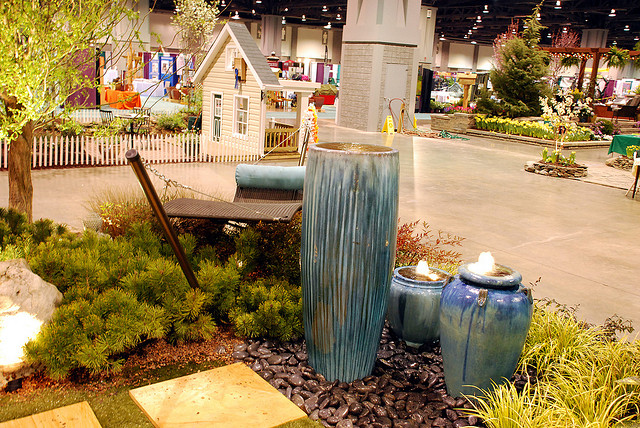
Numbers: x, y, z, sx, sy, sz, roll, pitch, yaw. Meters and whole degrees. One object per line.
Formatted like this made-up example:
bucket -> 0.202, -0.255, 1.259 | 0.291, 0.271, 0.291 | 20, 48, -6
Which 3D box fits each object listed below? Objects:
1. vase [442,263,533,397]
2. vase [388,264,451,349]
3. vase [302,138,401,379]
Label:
vase -> 1.332, 0.957, 3.622 | 0.666, 1.082, 0.728 | 6, 20, 9
vase -> 0.991, 0.945, 4.527 | 0.628, 0.755, 0.644 | 17, 21, 37
vase -> 0.215, 0.465, 3.788 | 0.769, 2.003, 0.344 | 5, 15, 9
